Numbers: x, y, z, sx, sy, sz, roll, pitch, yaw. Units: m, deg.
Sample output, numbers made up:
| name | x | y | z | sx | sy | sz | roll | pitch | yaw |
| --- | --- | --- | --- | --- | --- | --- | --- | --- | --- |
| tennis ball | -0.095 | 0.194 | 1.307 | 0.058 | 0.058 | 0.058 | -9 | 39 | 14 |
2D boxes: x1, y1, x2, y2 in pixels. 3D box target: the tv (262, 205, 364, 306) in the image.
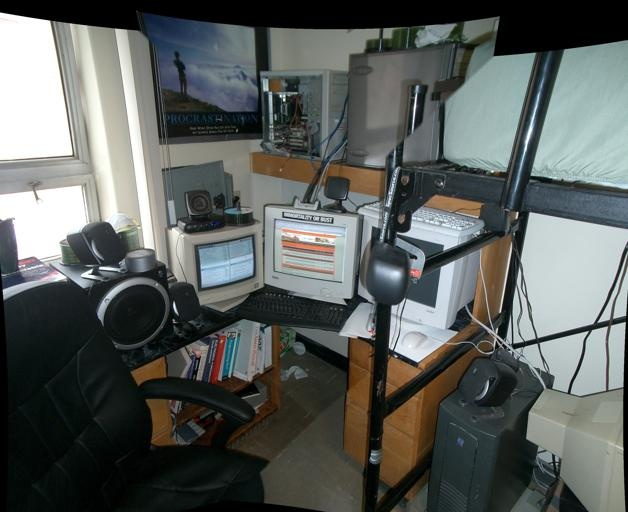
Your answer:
| name | x | y | z | sx | sy | sz | roll | pitch | yaw |
| --- | --- | --- | --- | --- | --- | --- | --- | --- | --- |
| tv | 0.010 | -0.004 | 2.063 | 0.355 | 0.349 | 0.204 | 10 | 22 | 20 |

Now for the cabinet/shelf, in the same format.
| name | x | y | z | sx | sy | sz | roll | pitch | yaw |
| --- | --- | --- | --- | --- | --- | --- | --- | --- | --- |
| cabinet/shelf | 0.381 | 0.342 | 1.328 | 0.487 | 1.762 | 0.637 | 4 | 21 | 6 |

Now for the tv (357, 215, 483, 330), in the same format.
| name | x | y | z | sx | sy | sz | roll | pitch | yaw |
| --- | --- | --- | --- | --- | --- | --- | --- | --- | --- |
| tv | 0.386 | 0.067 | 1.502 | 0.341 | 0.337 | 0.204 | 18 | 30 | 33 |

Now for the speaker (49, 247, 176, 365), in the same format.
| name | x | y | z | sx | sy | sz | roll | pitch | yaw |
| --- | --- | --- | --- | --- | --- | --- | --- | --- | --- |
| speaker | -0.814 | 0.175 | 1.902 | 0.286 | 0.401 | 0.513 | -20 | 29 | -40 |

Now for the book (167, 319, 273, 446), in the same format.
| name | x | y | z | sx | sy | sz | roll | pitch | yaw |
| --- | --- | --- | --- | --- | --- | --- | --- | --- | --- |
| book | -0.423 | 0.538 | 1.946 | 0.238 | 0.431 | 0.451 | 21 | 39 | 22 |

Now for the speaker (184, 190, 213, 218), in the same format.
| name | x | y | z | sx | sy | sz | roll | pitch | yaw |
| --- | --- | --- | --- | --- | --- | --- | --- | --- | --- |
| speaker | -0.527 | -0.234 | 2.045 | 0.094 | 0.132 | 0.069 | -17 | 40 | -36 |

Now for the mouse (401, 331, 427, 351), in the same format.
| name | x | y | z | sx | sy | sz | roll | pitch | yaw |
| --- | --- | --- | --- | --- | --- | --- | --- | --- | --- |
| mouse | 0.393 | 0.325 | 1.751 | 0.050 | 0.026 | 0.086 | 15 | 41 | 34 |

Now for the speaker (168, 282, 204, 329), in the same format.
| name | x | y | z | sx | sy | sz | roll | pitch | yaw |
| --- | --- | --- | --- | --- | --- | --- | --- | --- | --- |
| speaker | -0.550 | 0.216 | 1.902 | 0.097 | 0.187 | 0.133 | -19 | 5 | 26 |

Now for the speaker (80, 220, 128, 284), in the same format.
| name | x | y | z | sx | sy | sz | roll | pitch | yaw |
| --- | --- | --- | --- | --- | --- | --- | --- | --- | --- |
| speaker | -0.815 | -0.004 | 1.728 | 0.137 | 0.252 | 0.144 | 8 | 27 | 19 |
